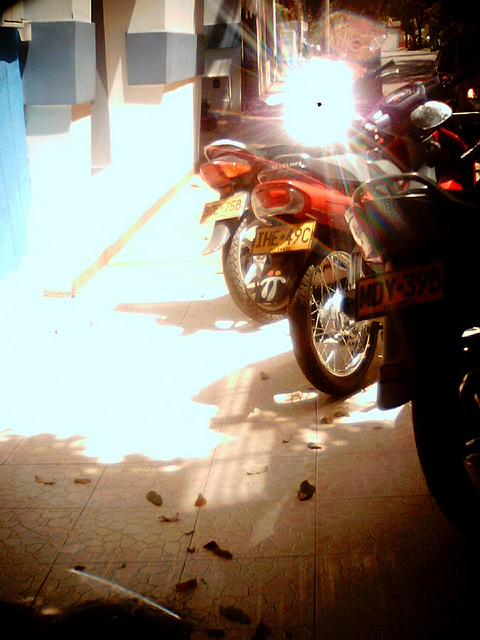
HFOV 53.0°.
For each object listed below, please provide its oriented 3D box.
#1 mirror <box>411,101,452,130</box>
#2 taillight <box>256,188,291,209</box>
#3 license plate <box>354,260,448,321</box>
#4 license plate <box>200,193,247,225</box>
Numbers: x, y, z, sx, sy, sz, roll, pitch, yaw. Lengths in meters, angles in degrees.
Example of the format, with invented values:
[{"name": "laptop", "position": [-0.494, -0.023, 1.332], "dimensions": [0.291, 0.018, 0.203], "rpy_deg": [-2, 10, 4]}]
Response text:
[{"name": "mirror", "position": [1.192, -1.287, 3.007], "dimensions": [0.154, 0.156, 0.208], "rpy_deg": [-8, 10, -25]}, {"name": "taillight", "position": [0.213, -0.773, 3.051], "dimensions": [0.252, 0.119, 0.068], "rpy_deg": [5, 12, 39]}, {"name": "license plate", "position": [0.475, -0.082, 1.429], "dimensions": [0.287, 0.150, 0.035], "rpy_deg": [-13, -30, 41]}, {"name": "license plate", "position": [-0.137, -0.899, 3.886], "dimensions": [0.174, 0.206, 0.458], "rpy_deg": [-11, 12, -39]}]
